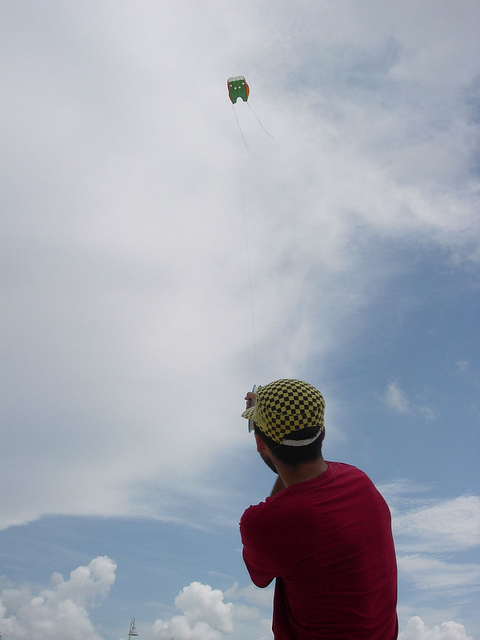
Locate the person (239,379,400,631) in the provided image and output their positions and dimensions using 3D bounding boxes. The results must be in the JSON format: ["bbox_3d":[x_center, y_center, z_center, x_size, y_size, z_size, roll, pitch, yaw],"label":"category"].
[{"bbox_3d":[0.272,0.735,3.261,0.573,0.877,0.683,-6,-48,3],"label":"person"}]
